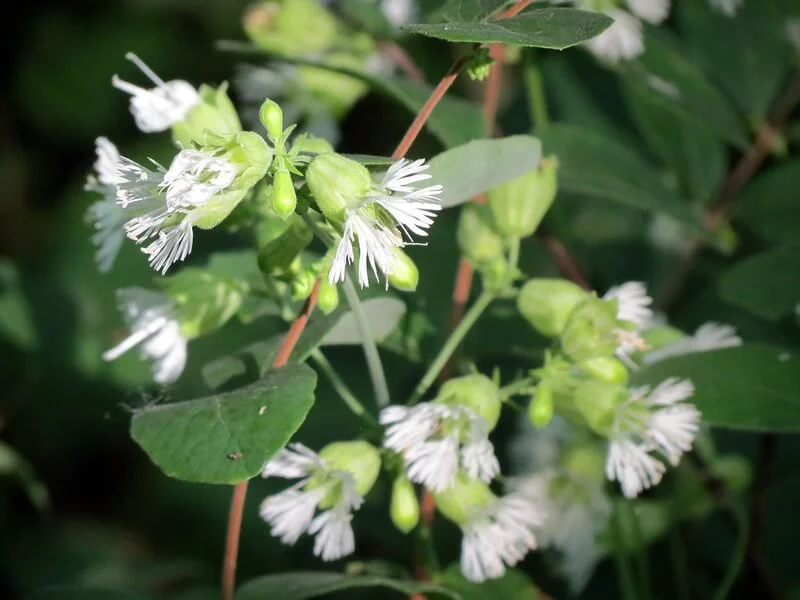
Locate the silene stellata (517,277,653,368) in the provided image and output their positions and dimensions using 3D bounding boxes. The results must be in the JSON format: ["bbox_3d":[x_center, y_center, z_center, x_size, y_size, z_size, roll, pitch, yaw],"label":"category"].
[{"bbox_3d":[0.181,0.018,0.832,0.122,0.067,0.097,31,44,16],"label":"silene stellata"}]

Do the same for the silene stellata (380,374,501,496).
[{"bbox_3d":[0.064,0.137,0.817,0.151,0.078,0.169,-7,7,28],"label":"silene stellata"}]

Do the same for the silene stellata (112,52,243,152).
[{"bbox_3d":[-0.245,-0.220,0.883,0.112,0.095,0.082,-21,27,-11],"label":"silene stellata"}]

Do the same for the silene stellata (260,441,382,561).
[{"bbox_3d":[-0.062,0.183,0.832,0.141,0.060,0.177,-1,5,2],"label":"silene stellata"}]

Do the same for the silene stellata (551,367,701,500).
[{"bbox_3d":[0.232,0.133,0.824,0.138,0.045,0.106,24,69,29],"label":"silene stellata"}]

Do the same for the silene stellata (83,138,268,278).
[{"bbox_3d":[-0.206,-0.100,0.796,0.174,0.089,0.107,-31,6,12],"label":"silene stellata"}]

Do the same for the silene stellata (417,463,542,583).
[{"bbox_3d":[0.072,0.213,0.843,0.163,0.044,0.098,23,31,16],"label":"silene stellata"}]

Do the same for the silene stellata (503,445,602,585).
[{"bbox_3d":[0.211,0.271,0.983,0.045,0.131,0.129,-32,-5,28],"label":"silene stellata"}]

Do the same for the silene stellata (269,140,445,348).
[{"bbox_3d":[-0.045,-0.051,0.780,0.142,0.175,0.092,23,8,-4],"label":"silene stellata"}]

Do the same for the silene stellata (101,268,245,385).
[{"bbox_3d":[-0.277,0.049,0.950,0.126,0.098,0.046,-11,26,-21],"label":"silene stellata"}]
